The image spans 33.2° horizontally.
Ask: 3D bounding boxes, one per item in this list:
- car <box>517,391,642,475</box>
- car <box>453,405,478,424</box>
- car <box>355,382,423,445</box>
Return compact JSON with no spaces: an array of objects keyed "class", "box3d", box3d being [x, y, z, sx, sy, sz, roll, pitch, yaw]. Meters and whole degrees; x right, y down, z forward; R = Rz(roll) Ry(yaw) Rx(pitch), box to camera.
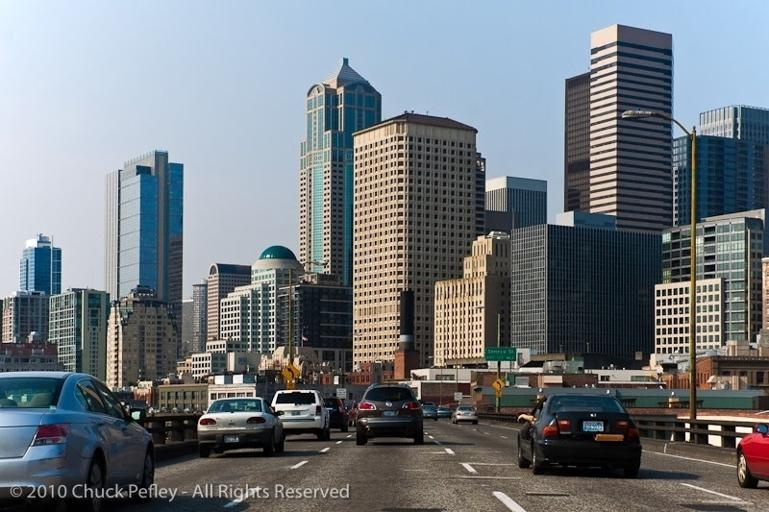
[{"class":"car","box3d":[5.480,4.927,36.269,3.246,2.230,1.862,-3,-10,10]},{"class":"car","box3d":[5.603,10.998,89.785,1.488,1.456,2.782,-1,-10,-1]},{"class":"car","box3d":[0.188,5.597,47.026,2.351,1.894,1.250,0,-10,-4]}]
